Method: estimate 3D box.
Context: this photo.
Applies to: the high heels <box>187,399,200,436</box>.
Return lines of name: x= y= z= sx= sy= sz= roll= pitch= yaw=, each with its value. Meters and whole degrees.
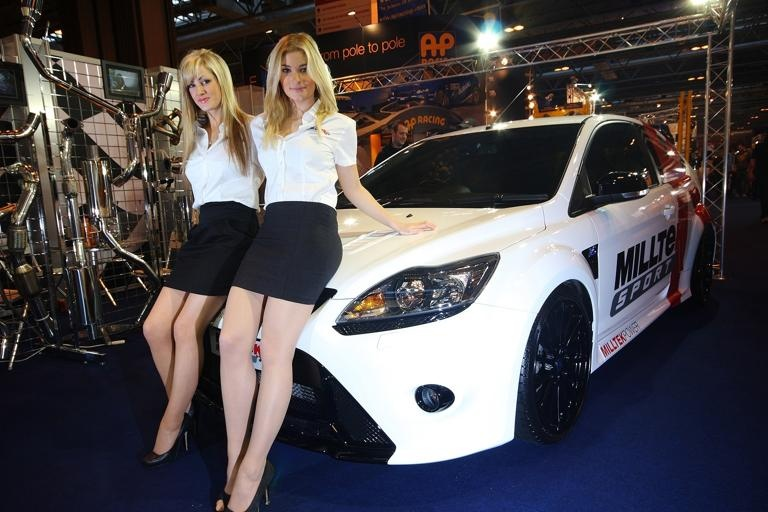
high heels: x=-1.238 y=1.033 z=3.240 sx=0.076 sy=0.239 sz=0.089 roll=3 pitch=8 yaw=23

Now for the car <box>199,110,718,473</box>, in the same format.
car: x=1.283 y=-0.232 z=4.490 sx=4.585 sy=1.920 sz=2.419 roll=-14 pitch=14 yaw=-39

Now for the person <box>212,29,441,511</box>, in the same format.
person: x=-0.510 y=0.079 z=2.768 sx=0.568 sy=2.517 sz=0.946 roll=6 pitch=14 yaw=23
